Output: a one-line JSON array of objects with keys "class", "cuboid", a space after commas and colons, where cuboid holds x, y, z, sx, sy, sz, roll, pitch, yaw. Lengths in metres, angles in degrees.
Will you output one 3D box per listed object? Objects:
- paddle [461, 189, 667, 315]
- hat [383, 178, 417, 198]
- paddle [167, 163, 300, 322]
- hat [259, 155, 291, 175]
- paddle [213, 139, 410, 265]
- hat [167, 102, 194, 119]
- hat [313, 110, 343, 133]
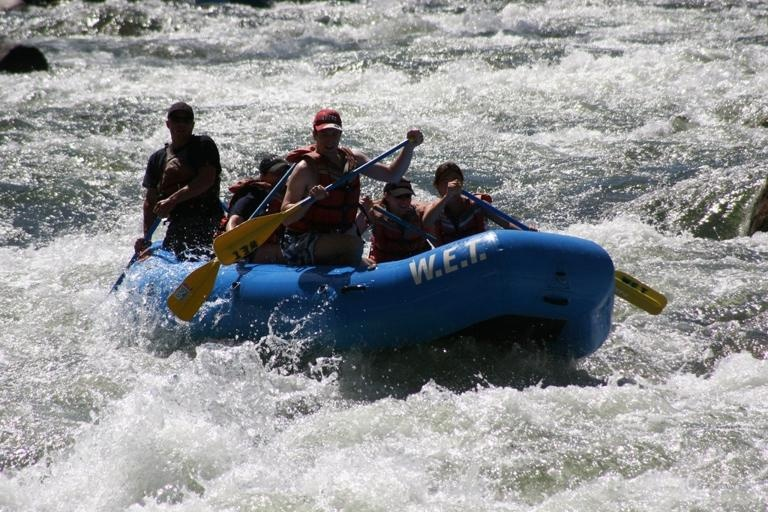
[{"class": "paddle", "cuboid": [2.305, 0.003, 14.225, 2.887, 0.296, 0.120, 33, 53, 8]}, {"class": "hat", "cuboid": [0.194, -0.865, 14.309, 0.524, 0.245, 0.711, -1, 3, -15]}, {"class": "paddle", "cuboid": [-1.754, -0.210, 13.967, 0.401, 0.125, 2.515, 42, 60, -3]}, {"class": "hat", "cuboid": [-1.431, -1.193, 14.703, 0.328, 0.252, 0.250, -30, 9, 15]}, {"class": "paddle", "cuboid": [-0.883, -0.619, 14.255, 3.480, 0.459, 0.286, -29, 18, -1]}, {"class": "hat", "cuboid": [-2.603, -1.921, 14.617, 0.281, 0.203, 0.371, -3, 26, -6]}, {"class": "hat", "cuboid": [-0.680, -1.649, 13.744, 0.331, 0.267, 0.276, -3, 27, -6]}]
